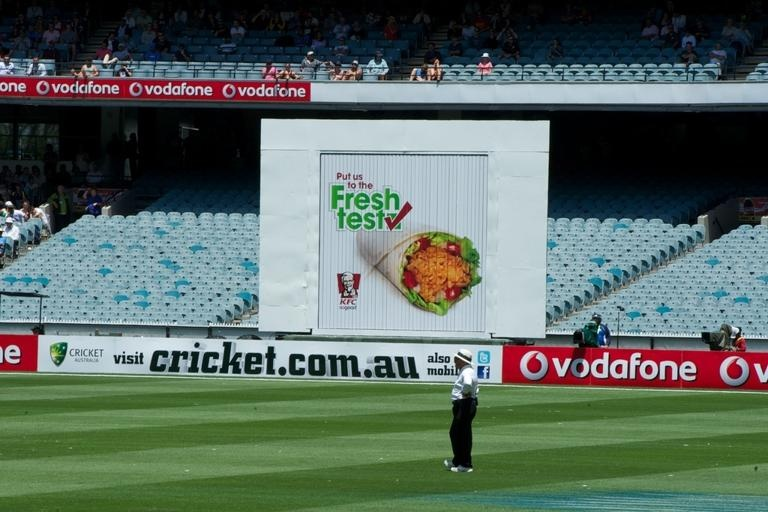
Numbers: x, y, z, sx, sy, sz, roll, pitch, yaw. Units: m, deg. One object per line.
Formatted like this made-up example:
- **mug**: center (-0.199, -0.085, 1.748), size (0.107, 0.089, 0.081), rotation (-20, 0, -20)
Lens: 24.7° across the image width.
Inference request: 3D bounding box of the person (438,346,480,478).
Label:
- **person**: center (2.024, 4.119, 46.082), size (1.248, 2.814, 1.140), rotation (-5, -3, 38)
